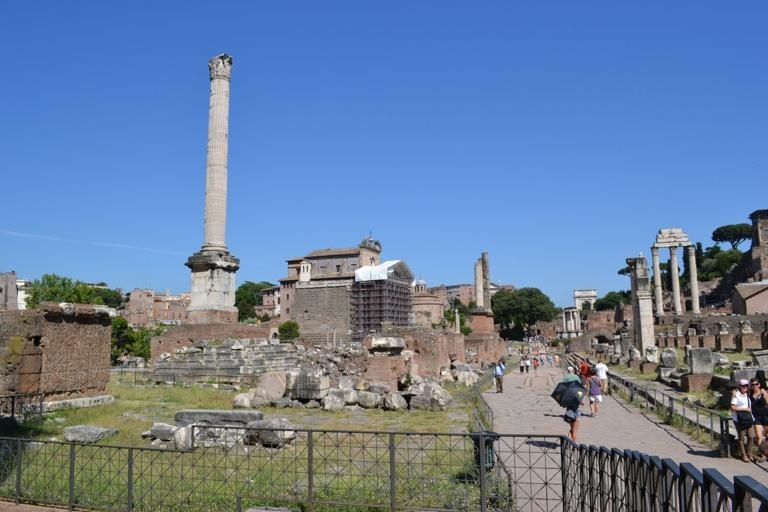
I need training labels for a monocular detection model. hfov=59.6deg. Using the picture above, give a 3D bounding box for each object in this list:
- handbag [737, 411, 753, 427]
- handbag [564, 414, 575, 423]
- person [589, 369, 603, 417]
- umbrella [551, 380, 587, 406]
[{"bbox_3d":[8.267,3.726,15.347,0.363,0.359,0.165,3,-11,-13],"label":"handbag"},{"bbox_3d":[4.696,4.101,16.927,0.227,0.199,0.289,1,-10,-2],"label":"handbag"},{"bbox_3d":[6.628,4.385,21.131,0.367,1.215,1.751,-2,-10,16],"label":"person"},{"bbox_3d":[4.703,3.502,17.071,0.695,0.688,0.447,-29,-43,13],"label":"umbrella"}]
